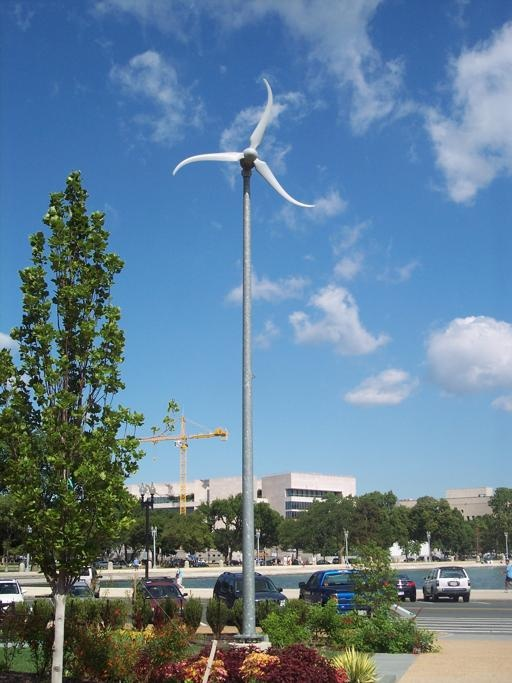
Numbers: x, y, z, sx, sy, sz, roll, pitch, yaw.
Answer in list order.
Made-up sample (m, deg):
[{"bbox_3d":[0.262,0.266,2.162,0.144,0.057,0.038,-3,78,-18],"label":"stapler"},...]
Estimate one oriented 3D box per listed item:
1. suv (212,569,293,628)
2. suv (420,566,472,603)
[{"bbox_3d":[-0.211,6.718,32.298,1.794,1.413,5.251,0,-13,-2],"label":"suv"},{"bbox_3d":[6.706,8.536,43.125,1.312,1.253,1.955,0,-13,-3],"label":"suv"}]
